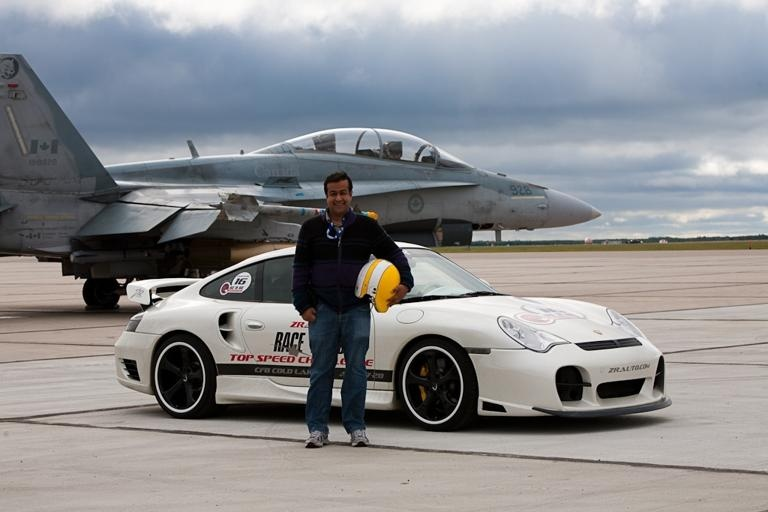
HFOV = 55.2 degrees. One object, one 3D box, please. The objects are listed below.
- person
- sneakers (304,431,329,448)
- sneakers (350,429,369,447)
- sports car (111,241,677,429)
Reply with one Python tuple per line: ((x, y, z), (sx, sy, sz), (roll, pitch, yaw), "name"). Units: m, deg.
((-0.317, 0.472, 6.667), (1.006, 2.465, 0.550), (-4, 6, -5), "person")
((-0.609, 1.649, 6.624), (0.149, 0.133, 0.289), (-1, 4, 24), "sneakers")
((-0.220, 1.633, 6.615), (0.180, 0.144, 0.190), (-3, 4, -4), "sneakers")
((-0.005, 0.864, 7.689), (5.120, 1.036, 2.286), (-2, -3, 14), "sports car")
